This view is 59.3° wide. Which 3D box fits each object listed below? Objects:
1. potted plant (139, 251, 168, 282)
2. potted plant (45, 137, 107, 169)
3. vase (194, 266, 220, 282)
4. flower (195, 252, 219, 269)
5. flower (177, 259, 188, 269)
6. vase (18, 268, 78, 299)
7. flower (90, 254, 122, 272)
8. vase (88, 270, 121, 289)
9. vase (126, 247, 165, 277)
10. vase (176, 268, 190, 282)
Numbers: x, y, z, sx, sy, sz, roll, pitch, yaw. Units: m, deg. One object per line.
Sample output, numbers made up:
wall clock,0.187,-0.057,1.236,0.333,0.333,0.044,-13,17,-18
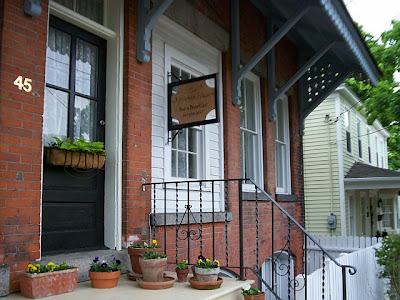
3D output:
potted plant,-0.572,1.390,4.167,0.290,0.350,0.321,3,-19,-9
potted plant,-1.615,0.031,4.577,0.781,0.385,0.248,6,-14,-32
vase,0.078,1.476,4.238,0.178,0.130,0.197,4,-16,-8
flower,0.082,1.394,4.384,0.285,0.148,0.415,-1,-13,-2
flower,-0.230,1.499,4.557,0.147,0.101,0.191,-1,-13,-1
vase,-1.629,1.367,3.800,0.455,0.225,0.278,5,-5,-44
flower,-1.170,1.390,4.299,0.366,0.174,0.482,3,-14,-18
vase,-1.108,1.472,4.093,0.222,0.115,0.225,-10,-17,42
vase,-0.736,1.430,4.529,0.331,0.286,0.354,-7,-18,26
vase,-0.220,1.595,4.509,0.151,0.149,0.171,3,-13,-11
